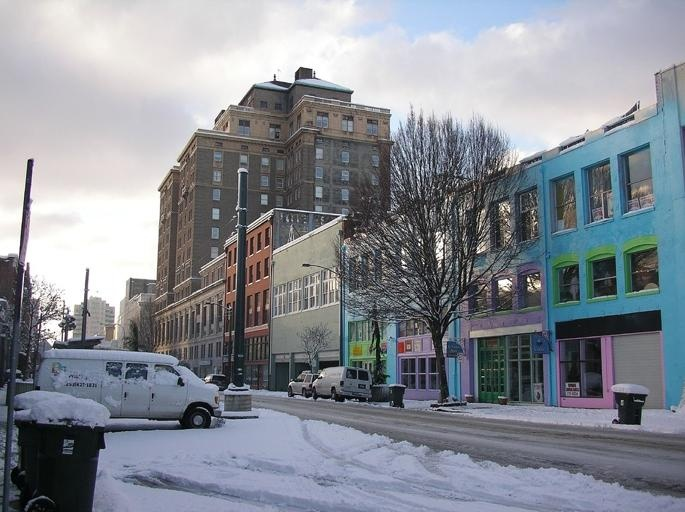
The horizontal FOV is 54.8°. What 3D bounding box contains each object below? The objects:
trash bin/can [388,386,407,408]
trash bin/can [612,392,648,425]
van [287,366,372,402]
[{"bbox_3d":[3.073,7.207,34.202,0.946,1.380,0.898,11,-11,-40],"label":"trash bin/can"},{"bbox_3d":[9.551,5.018,21.789,0.872,1.151,1.086,0,-11,21],"label":"trash bin/can"},{"bbox_3d":[-0.663,7.862,41.545,2.291,2.115,6.694,12,-14,-25],"label":"van"}]
